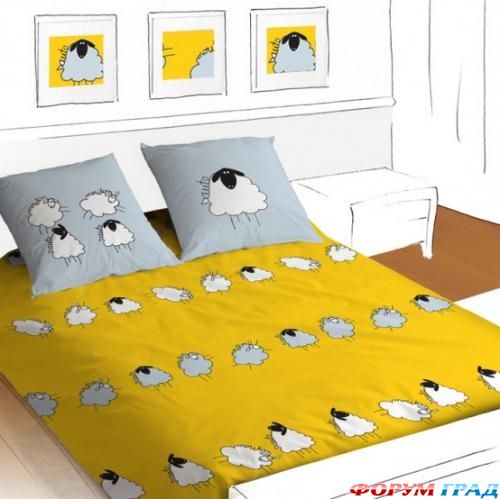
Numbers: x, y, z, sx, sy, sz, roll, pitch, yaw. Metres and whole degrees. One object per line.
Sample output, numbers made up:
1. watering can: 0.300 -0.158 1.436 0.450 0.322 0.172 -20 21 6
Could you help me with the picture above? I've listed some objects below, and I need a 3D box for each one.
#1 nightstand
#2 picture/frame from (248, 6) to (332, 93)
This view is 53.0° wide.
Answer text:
1. nightstand: 0.706 -0.288 3.232 0.843 0.529 0.570 -12 29 -24
2. picture/frame: 0.225 -1.264 3.108 0.604 0.475 0.048 -6 17 -22
